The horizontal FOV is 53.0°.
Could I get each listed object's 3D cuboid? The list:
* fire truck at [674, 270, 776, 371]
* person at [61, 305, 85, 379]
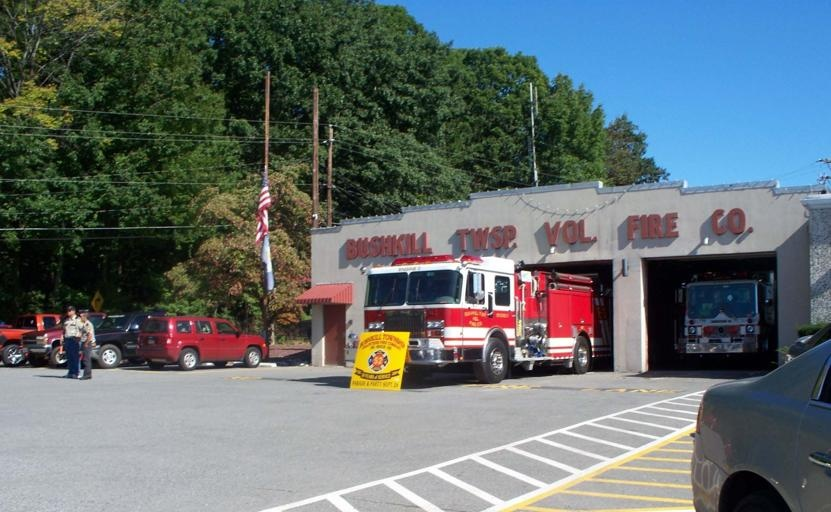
[{"bbox_3d":[14.868,2.305,39.335,3.937,3.349,6.997,-1,3,26],"label":"fire truck"},{"bbox_3d":[-13.513,3.277,32.765,0.717,2.730,1.574,-1,4,-23],"label":"person"}]
